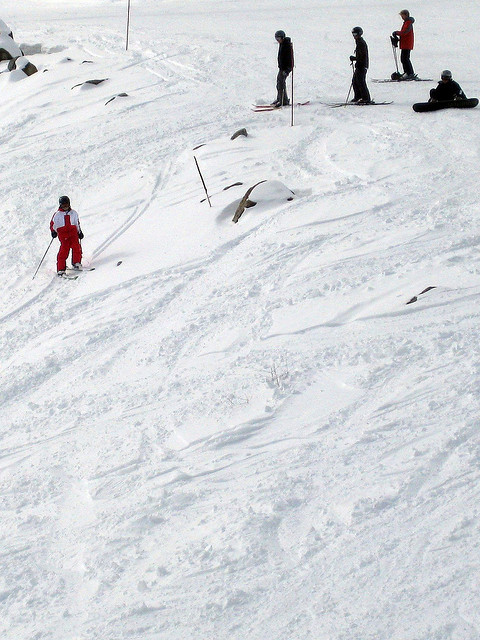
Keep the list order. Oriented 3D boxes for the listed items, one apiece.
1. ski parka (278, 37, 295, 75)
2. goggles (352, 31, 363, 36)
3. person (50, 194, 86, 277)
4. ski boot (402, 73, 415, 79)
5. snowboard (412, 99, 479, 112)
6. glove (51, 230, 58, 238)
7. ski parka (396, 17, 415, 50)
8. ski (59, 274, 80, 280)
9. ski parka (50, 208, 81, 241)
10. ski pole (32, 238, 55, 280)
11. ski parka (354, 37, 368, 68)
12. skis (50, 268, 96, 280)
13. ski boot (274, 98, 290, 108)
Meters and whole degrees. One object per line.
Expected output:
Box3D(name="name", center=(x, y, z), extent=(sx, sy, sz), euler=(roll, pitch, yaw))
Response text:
Box3D(name="ski parka", center=(0.808, -4.804, 16.841), extent=(0.238, 0.720, 0.434), euler=(-2, 32, 2))
Box3D(name="goggles", center=(2.136, -5.222, 16.750), extent=(0.184, 0.095, 0.161), euler=(-1, 26, -4))
Box3D(name="person", center=(-2.513, -1.246, 13.269), extent=(0.428, 1.106, 1.048), euler=(-9, 32, -9))
Box3D(name="ski boot", center=(3.628, -5.261, 19.878), extent=(0.289, 0.126, 0.106), euler=(7, 64, 9))
Box3D(name="snowboard", center=(3.760, -3.868, 16.591), extent=(1.018, 0.259, 0.129), euler=(-7, 66, -5))
Box3D(name="glove", center=(-2.610, -1.210, 12.821), extent=(0.083, 0.069, 0.105), euler=(0, 74, -11))
Box3D(name="ski parka", center=(3.543, -6.132, 19.715), extent=(0.335, 0.674, 0.775), euler=(5, 33, 12))
Box3D(name="ski", center=(-2.446, -0.618, 13.036), extent=(0.304, 0.045, 0.048), euler=(7, 61, 20))
Box3D(name="ski parka", center=(-2.546, -1.326, 13.050), extent=(0.260, 0.463, 0.488), euler=(16, 37, 28))
Box3D(name="ski pole", center=(-2.951, -0.893, 13.681), extent=(0.038, 0.093, 0.880), euler=(20, 61, 21))
Box3D(name="ski parka", center=(2.241, -4.922, 16.974), extent=(0.215, 0.560, 0.340), euler=(0, 32, 5))
Box3D(name="skis", center=(-2.396, -0.671, 13.168), extent=(0.429, 0.059, 0.237), euler=(3, 26, 25))
Box3D(name="ski boot", center=(0.809, -4.260, 18.114), extent=(0.170, 0.225, 0.208), euler=(8, 33, 41))
